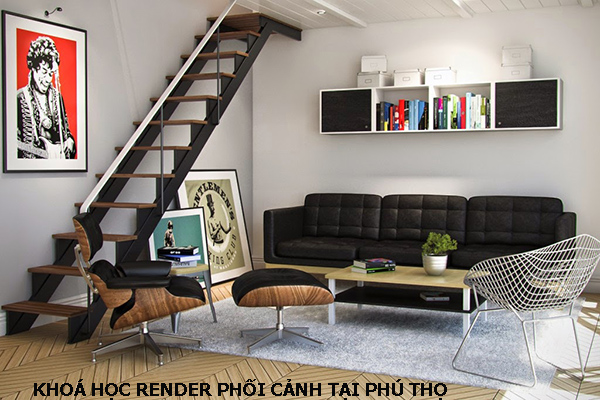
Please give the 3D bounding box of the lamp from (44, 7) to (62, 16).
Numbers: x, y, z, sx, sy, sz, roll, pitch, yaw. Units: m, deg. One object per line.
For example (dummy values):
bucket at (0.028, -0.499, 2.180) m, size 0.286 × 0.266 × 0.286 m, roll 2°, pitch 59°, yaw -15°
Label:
lamp at (-2.552, -1.933, 4.447) m, size 0.074 × 0.064 × 0.176 m, roll 11°, pitch 13°, yaw 41°

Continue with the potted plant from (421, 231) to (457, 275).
potted plant at (1.406, 0.544, 4.390) m, size 0.323 × 0.415 × 0.189 m, roll -3°, pitch 5°, yaw -36°

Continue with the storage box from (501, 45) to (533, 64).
storage box at (2.872, -1.881, 5.699) m, size 0.313 × 0.164 × 0.319 m, roll 4°, pitch 8°, yaw 40°

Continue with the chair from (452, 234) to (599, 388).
chair at (1.939, 0.995, 3.725) m, size 1.325 × 1.253 × 1.039 m, roll 0°, pitch 0°, yaw -27°

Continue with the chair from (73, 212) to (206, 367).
chair at (-1.208, 0.683, 4.147) m, size 1.427 × 1.267 × 1.298 m, roll 1°, pitch 2°, yaw -12°

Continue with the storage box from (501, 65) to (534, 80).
storage box at (2.838, -1.670, 5.643) m, size 0.304 × 0.153 × 0.284 m, roll 2°, pitch 5°, yaw 24°

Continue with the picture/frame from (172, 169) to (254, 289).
picture/frame at (-1.200, 0.392, 5.776) m, size 0.089 × 1.594 × 1.927 m, roll -14°, pitch -7°, yaw 29°

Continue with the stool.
stool at (-0.186, 0.953, 3.774) m, size 0.765 × 0.457 × 0.758 m, roll 0°, pitch -2°, yaw -10°
